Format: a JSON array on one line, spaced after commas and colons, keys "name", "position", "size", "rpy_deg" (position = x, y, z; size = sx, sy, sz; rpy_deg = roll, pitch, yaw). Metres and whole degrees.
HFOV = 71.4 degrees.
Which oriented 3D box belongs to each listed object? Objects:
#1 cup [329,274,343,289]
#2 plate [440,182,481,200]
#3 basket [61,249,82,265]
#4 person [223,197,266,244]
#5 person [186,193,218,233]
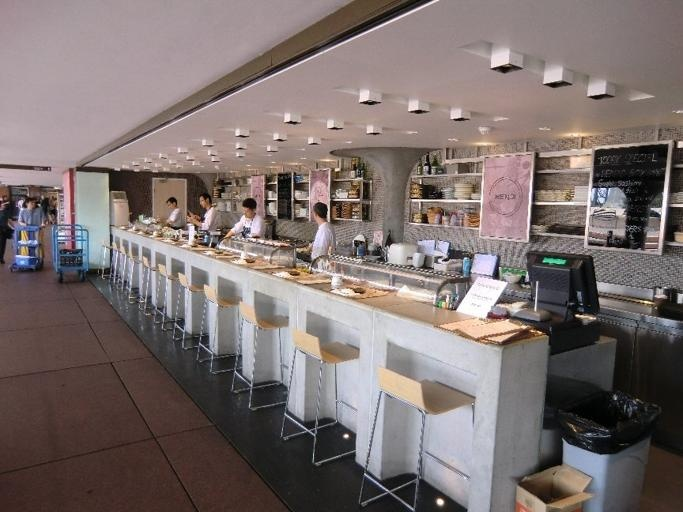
[{"name": "cup", "position": [-0.043, 0.244, 4.686], "size": [0.114, 0.102, 0.114], "rpy_deg": [2, 1, 0]}, {"name": "plate", "position": [1.806, -0.969, 7.096], "size": [0.350, 0.148, 0.349], "rpy_deg": [1, 4, -3]}, {"name": "basket", "position": [-6.313, 0.016, 11.177], "size": [0.390, 0.247, 0.386], "rpy_deg": [2, -2, -11]}, {"name": "person", "position": [-1.544, -0.624, 7.891], "size": [0.557, 0.724, 1.389], "rpy_deg": [0, 11, -10]}, {"name": "person", "position": [-2.967, -0.863, 10.318], "size": [0.656, 1.029, 0.777], "rpy_deg": [-6, 8, -15]}]
